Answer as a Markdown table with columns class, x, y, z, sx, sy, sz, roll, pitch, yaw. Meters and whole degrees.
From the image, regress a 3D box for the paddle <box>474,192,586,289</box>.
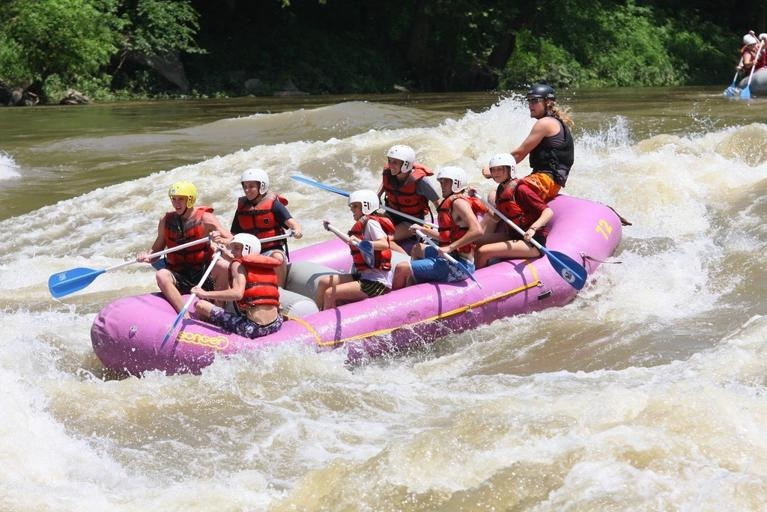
| class | x | y | z | sx | sy | sz | roll | pitch | yaw |
| --- | --- | --- | --- | --- | --- | --- | --- | --- | --- |
| paddle | 1.617 | -0.129 | 9.183 | 1.700 | 0.244 | 0.132 | 43 | 19 | 27 |

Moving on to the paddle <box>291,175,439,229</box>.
| class | x | y | z | sx | sy | sz | roll | pitch | yaw |
| --- | --- | --- | --- | --- | --- | --- | --- | --- | --- |
| paddle | -0.259 | -0.668 | 10.536 | 2.102 | 0.232 | 0.084 | 24 | 24 | 6 |

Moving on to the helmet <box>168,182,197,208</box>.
| class | x | y | z | sx | sy | sz | roll | pitch | yaw |
| --- | --- | --- | --- | --- | --- | --- | --- | --- | --- |
| helmet | -2.114 | -0.640 | 8.634 | 0.238 | 0.247 | 0.312 | -2 | -1 | 34 |

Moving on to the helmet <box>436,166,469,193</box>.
| class | x | y | z | sx | sy | sz | roll | pitch | yaw |
| --- | --- | --- | --- | --- | --- | --- | --- | --- | --- |
| helmet | 0.771 | -0.852 | 8.979 | 0.331 | 0.257 | 0.267 | -11 | -1 | -11 |

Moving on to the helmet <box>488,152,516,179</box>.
| class | x | y | z | sx | sy | sz | roll | pitch | yaw |
| --- | --- | --- | --- | --- | --- | --- | --- | --- | --- |
| helmet | 1.369 | -1.042 | 9.398 | 0.309 | 0.249 | 0.244 | -17 | 19 | -32 |

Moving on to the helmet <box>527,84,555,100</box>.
| class | x | y | z | sx | sy | sz | roll | pitch | yaw |
| --- | --- | --- | --- | --- | --- | --- | --- | --- | --- |
| helmet | 1.897 | -1.975 | 9.698 | 0.279 | 0.116 | 0.195 | 4 | -2 | -33 |

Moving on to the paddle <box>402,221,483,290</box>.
| class | x | y | z | sx | sy | sz | roll | pitch | yaw |
| --- | --- | --- | --- | --- | --- | --- | --- | --- | --- |
| paddle | 0.671 | 0.020 | 8.884 | 1.162 | 0.198 | 0.137 | 35 | 32 | 22 |

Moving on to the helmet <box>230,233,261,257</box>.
| class | x | y | z | sx | sy | sz | roll | pitch | yaw |
| --- | --- | --- | --- | --- | --- | --- | --- | --- | --- |
| helmet | -1.362 | -0.118 | 8.124 | 0.263 | 0.196 | 0.200 | -5 | 14 | -8 |

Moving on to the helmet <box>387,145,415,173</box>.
| class | x | y | z | sx | sy | sz | roll | pitch | yaw |
| --- | --- | --- | --- | --- | --- | --- | --- | --- | --- |
| helmet | 0.211 | -1.129 | 9.485 | 0.361 | 0.279 | 0.296 | -3 | 5 | -38 |

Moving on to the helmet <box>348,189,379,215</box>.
| class | x | y | z | sx | sy | sz | roll | pitch | yaw |
| --- | --- | --- | --- | --- | --- | --- | --- | --- | --- |
| helmet | -0.216 | -0.576 | 8.753 | 0.309 | 0.231 | 0.228 | 3 | -3 | -7 |

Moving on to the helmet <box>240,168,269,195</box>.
| class | x | y | z | sx | sy | sz | roll | pitch | yaw |
| --- | --- | --- | --- | --- | --- | --- | --- | --- | --- |
| helmet | -1.400 | -0.820 | 8.957 | 0.263 | 0.251 | 0.334 | -5 | -6 | 39 |

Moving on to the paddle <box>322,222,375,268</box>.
| class | x | y | z | sx | sy | sz | roll | pitch | yaw |
| --- | --- | --- | --- | --- | --- | --- | --- | --- | --- |
| paddle | -0.369 | -0.200 | 8.873 | 0.199 | 0.275 | 0.853 | -16 | 43 | -41 |
